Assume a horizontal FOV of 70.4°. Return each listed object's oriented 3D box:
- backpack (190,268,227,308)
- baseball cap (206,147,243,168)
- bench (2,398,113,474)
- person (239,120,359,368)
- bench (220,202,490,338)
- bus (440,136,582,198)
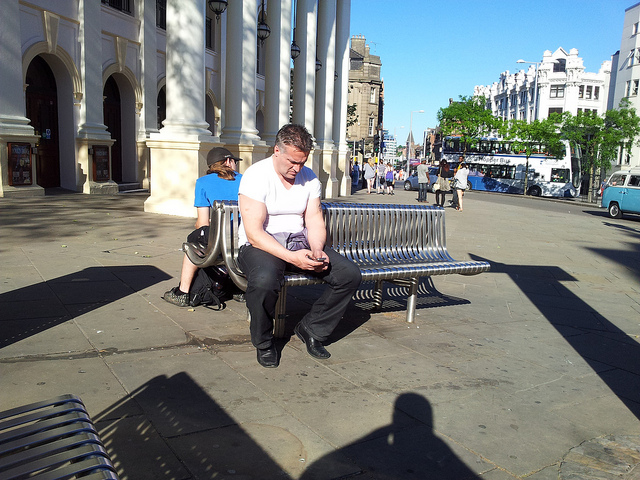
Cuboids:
[{"bbox_3d":[-1.215,0.520,5.002,0.314,0.433,0.446,7,-4,23],"label":"backpack"},{"bbox_3d":[-1.061,-0.922,4.990,0.305,0.157,0.197,-19,12,-33],"label":"baseball cap"},{"bbox_3d":[-1.022,0.767,1.736,0.365,0.097,0.488,4,13,-31],"label":"bench"},{"bbox_3d":[-0.200,0.016,3.929,1.099,1.938,1.219,5,10,8],"label":"person"},{"bbox_3d":[0.484,0.260,4.825,2.893,1.207,1.033,-1,8,-28],"label":"bench"},{"bbox_3d":[18.614,-7.454,45.371,13.459,5.452,3.694,14,13,43],"label":"bus"}]
